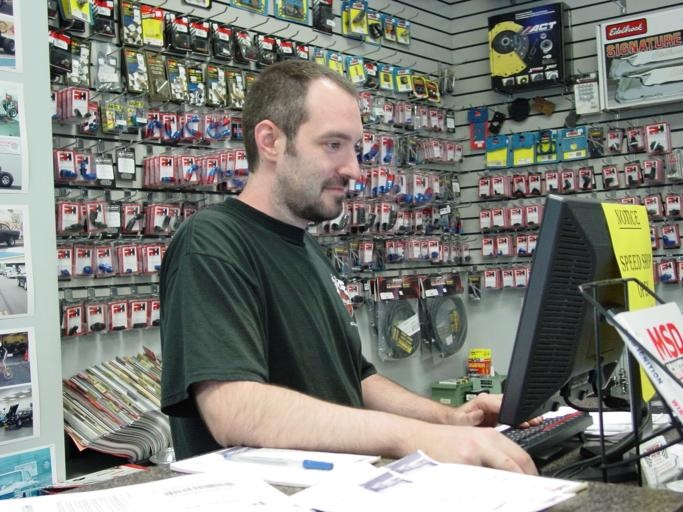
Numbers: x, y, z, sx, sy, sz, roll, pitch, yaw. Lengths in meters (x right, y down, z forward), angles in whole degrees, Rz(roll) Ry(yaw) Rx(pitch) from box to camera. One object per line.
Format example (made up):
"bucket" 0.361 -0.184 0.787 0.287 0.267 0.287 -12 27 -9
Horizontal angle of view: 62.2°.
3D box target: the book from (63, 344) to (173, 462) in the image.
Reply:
"book" -1.142 0.691 2.767 0.508 0.194 0.617 -3 15 -33

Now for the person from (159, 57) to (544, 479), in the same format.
"person" 0.025 0.074 2.183 1.214 1.676 1.272 -13 -15 23

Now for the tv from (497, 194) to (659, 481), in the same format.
"tv" 0.576 0.187 1.391 0.346 0.667 0.572 3 7 28
